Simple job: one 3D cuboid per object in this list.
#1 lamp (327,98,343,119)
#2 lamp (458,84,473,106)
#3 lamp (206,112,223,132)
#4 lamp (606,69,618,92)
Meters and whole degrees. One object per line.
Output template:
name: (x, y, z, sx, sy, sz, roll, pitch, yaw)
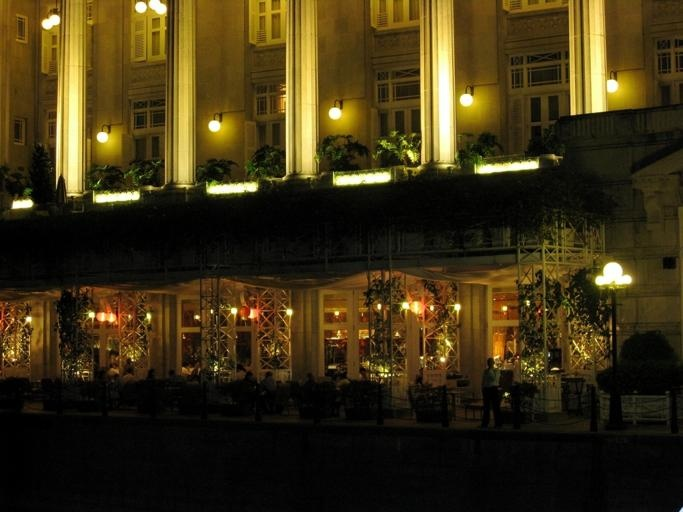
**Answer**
lamp: (-0.148, -5.792, 54.102, 0.596, 1.031, 0.716, 0, -8, 22)
lamp: (4.844, -6.098, 52.124, 0.561, 0.808, 0.453, -2, -6, 19)
lamp: (-5.162, -5.449, 56.048, 0.620, 1.055, 0.724, -2, -6, 31)
lamp: (10.191, -6.421, 50.409, 0.410, 0.805, 0.541, -1, -6, 14)
